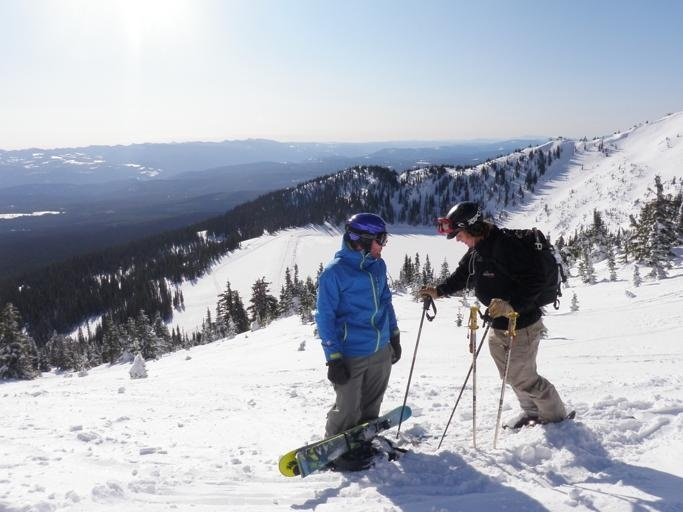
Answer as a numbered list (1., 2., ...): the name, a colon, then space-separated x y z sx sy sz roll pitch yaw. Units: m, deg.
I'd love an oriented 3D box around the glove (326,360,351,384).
1. glove: -0.100 3.304 18.207 0.533 0.724 0.723 -5 -1 4
